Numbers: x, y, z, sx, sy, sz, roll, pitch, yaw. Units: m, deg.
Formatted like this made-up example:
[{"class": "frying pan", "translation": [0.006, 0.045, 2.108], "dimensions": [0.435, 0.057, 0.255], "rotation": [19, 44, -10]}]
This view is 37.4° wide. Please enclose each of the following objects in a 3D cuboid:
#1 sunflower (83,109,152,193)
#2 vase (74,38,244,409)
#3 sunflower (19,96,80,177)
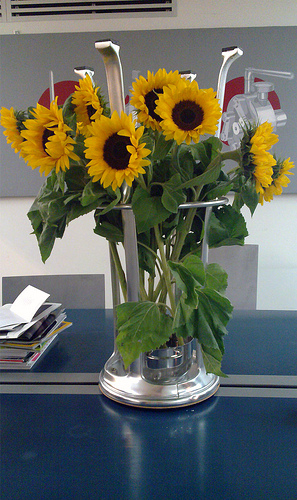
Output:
[{"class": "sunflower", "translation": [-0.028, -0.105, 0.465], "dimensions": [0.070, 0.083, 0.058], "rotation": [2, 24, 8]}, {"class": "vase", "translation": [0.011, -0.027, 0.641], "dimensions": [0.208, 0.477, 0.199], "rotation": [-3, 8, -21]}, {"class": "sunflower", "translation": [-0.116, -0.122, 0.478], "dimensions": [0.034, 0.077, 0.075], "rotation": [-10, 14, -42]}]
